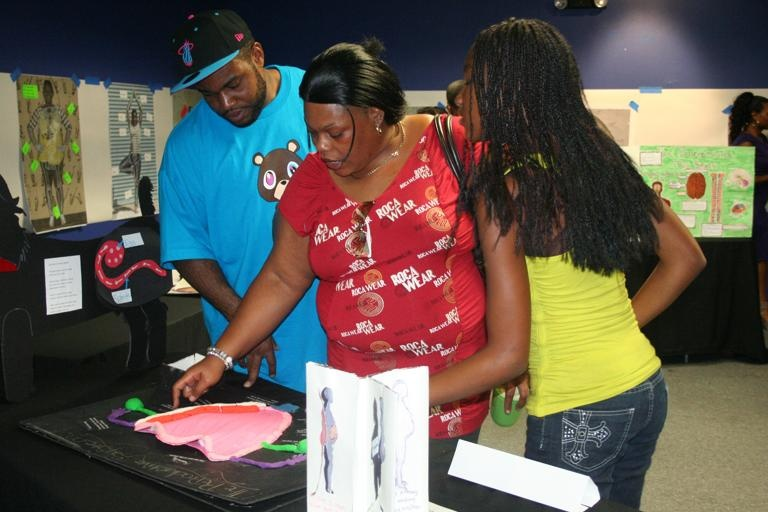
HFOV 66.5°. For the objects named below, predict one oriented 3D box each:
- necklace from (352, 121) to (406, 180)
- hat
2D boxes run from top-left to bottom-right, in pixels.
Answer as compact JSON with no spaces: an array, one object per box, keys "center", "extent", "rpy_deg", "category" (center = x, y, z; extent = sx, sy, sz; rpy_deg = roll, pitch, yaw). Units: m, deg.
[{"center":[0.006,-0.320,1.731],"extent":[0.156,0.038,0.119],"rpy_deg":[-49,20,-7],"category":"necklace"},{"center":[-0.576,-0.694,2.013],"extent":[0.231,0.189,0.333],"rpy_deg":[-1,34,50],"category":"hat"}]
